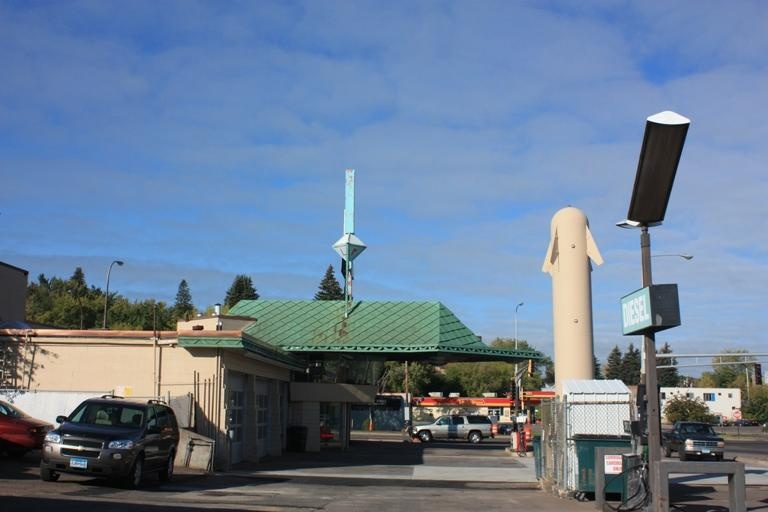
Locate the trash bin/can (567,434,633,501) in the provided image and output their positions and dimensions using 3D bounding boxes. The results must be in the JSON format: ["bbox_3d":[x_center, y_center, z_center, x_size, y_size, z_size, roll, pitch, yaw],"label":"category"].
[{"bbox_3d":[7.674,7.652,35.980,2.391,2.216,1.442,5,-13,-16],"label":"trash bin/can"}]

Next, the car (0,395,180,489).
[{"bbox_3d":[-9.272,6.372,34.210,4.392,3.008,2.118,7,-13,-24],"label":"car"}]

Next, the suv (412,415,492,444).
[{"bbox_3d":[4.649,11.215,65.024,4.338,1.496,2.102,2,-9,0],"label":"suv"}]

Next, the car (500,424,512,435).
[{"bbox_3d":[9.289,13.384,76.200,1.123,0.926,1.917,1,-1,5],"label":"car"}]

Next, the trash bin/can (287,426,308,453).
[{"bbox_3d":[-4.267,9.076,49.634,0.938,1.216,0.381,5,-12,-20],"label":"trash bin/can"}]
